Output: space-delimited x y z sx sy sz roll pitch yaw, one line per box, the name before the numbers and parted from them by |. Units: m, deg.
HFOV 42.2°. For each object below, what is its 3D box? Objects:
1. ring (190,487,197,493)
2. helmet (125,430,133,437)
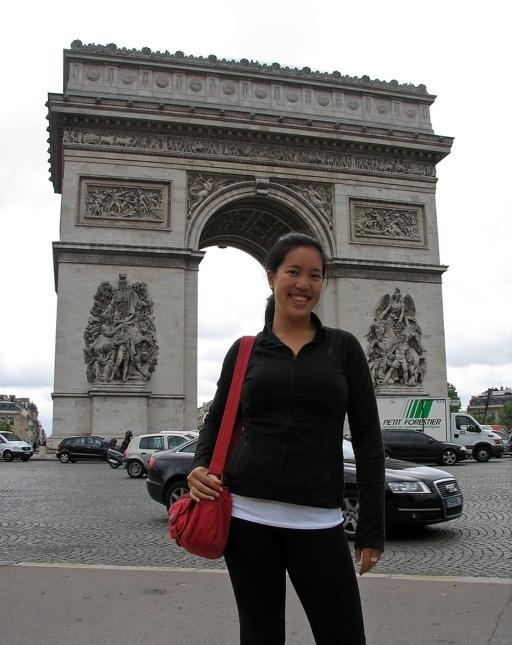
ring | -0.217 0.581 2.314 0.022 0.020 0.010 3 2 -37
helmet | -5.201 4.546 27.047 0.285 0.279 0.315 -5 -3 31
